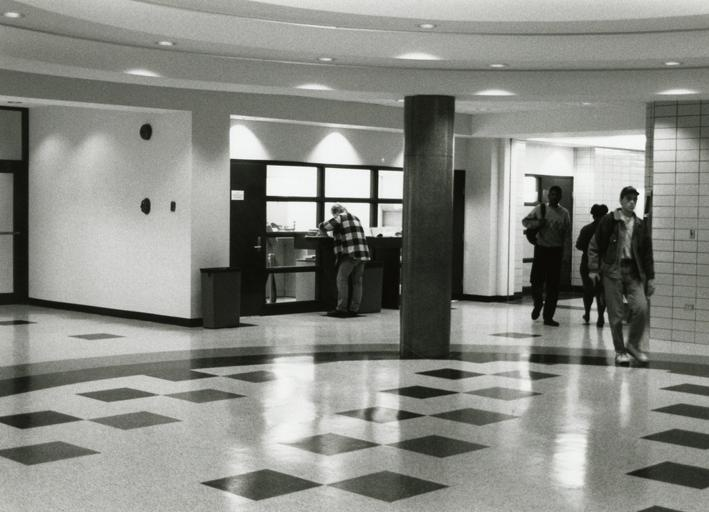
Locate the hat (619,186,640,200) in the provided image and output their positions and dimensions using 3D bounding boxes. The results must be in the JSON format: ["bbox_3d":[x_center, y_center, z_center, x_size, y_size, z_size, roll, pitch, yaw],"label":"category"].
[{"bbox_3d":[3.416,-0.805,7.803,0.208,0.146,0.281,1,-10,0],"label":"hat"}]

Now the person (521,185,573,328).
[{"bbox_3d":[3.498,-0.028,11.409,0.769,2.482,0.994,2,3,22],"label":"person"}]

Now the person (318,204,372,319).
[{"bbox_3d":[-0.192,0.082,11.850,0.889,2.102,0.817,1,3,0],"label":"person"}]

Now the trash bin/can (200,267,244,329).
[{"bbox_3d":[-2.169,0.577,10.662,0.657,1.003,0.686,0,15,31],"label":"trash bin/can"}]

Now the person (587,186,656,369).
[{"bbox_3d":[3.305,0.254,7.774,0.768,2.215,0.499,1,3,16],"label":"person"}]

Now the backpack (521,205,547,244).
[{"bbox_3d":[3.116,-0.599,11.567,0.661,0.595,0.487,-4,2,-4],"label":"backpack"}]
